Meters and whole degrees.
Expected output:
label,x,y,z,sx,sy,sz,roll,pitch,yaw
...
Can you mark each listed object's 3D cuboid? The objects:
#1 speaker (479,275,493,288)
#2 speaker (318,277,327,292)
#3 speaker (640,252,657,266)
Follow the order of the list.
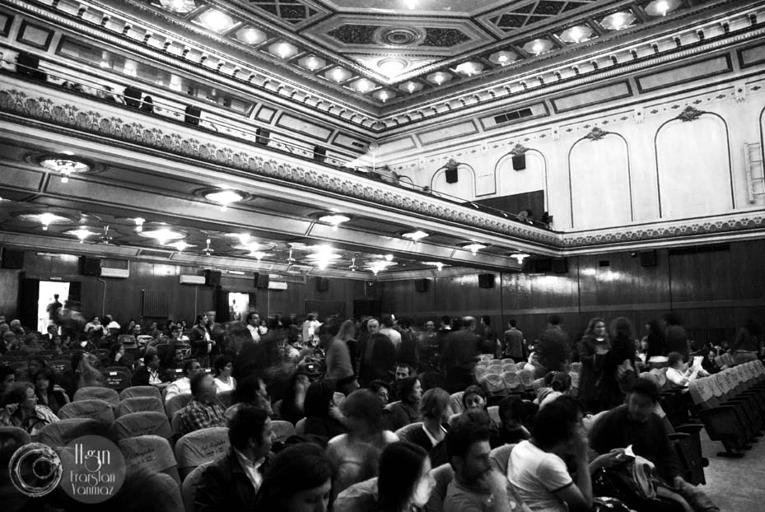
label,x,y,z,sx,sy,sz,roll,pitch,yaw
speaker,3.850,0.944,20.243,0.255,0.495,0.498,4,-1,-26
speaker,-2.388,1.141,21.801,0.221,0.544,0.551,-13,-15,41
speaker,8.407,0.111,17.308,0.489,0.504,0.171,-11,-13,36
